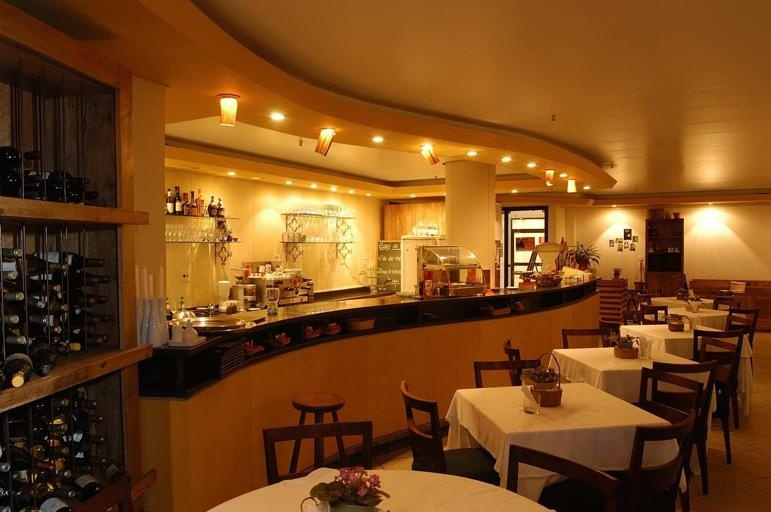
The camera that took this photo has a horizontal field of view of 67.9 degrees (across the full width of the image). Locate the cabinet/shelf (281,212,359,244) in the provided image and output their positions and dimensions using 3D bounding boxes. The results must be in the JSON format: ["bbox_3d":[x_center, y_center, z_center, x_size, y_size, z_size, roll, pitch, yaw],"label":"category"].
[{"bbox_3d":[-1.356,-0.536,11.783,0.541,0.641,2.202,2,1,24],"label":"cabinet/shelf"}]

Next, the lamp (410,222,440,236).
[{"bbox_3d":[0.894,-0.575,12.943,0.647,0.335,1.302,2,1,5],"label":"lamp"}]

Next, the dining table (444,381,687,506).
[{"bbox_3d":[1.343,1.356,4.769,1.078,0.444,1.094,0,6,-18],"label":"dining table"}]

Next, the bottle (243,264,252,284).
[{"bbox_3d":[-2.421,0.313,9.884,0.144,0.320,0.440,1,1,-13],"label":"bottle"}]

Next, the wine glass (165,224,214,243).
[{"bbox_3d":[-3.068,-0.330,8.906,0.146,0.279,0.938,2,1,26],"label":"wine glass"}]

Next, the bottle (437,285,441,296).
[{"bbox_3d":[0.688,0.459,7.446,0.041,0.107,0.019,2,1,18],"label":"bottle"}]

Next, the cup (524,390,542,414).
[{"bbox_3d":[1.198,1.205,4.659,0.147,0.268,0.147,-4,18,1],"label":"cup"}]

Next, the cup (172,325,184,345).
[{"bbox_3d":[-1.721,0.658,4.695,0.079,0.147,0.110,1,2,-30],"label":"cup"}]

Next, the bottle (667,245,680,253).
[{"bbox_3d":[8.093,-0.159,15.952,0.282,0.165,0.197,-2,1,5],"label":"bottle"}]

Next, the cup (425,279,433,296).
[{"bbox_3d":[0.562,0.420,7.455,0.103,0.184,0.083,2,1,4],"label":"cup"}]

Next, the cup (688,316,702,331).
[{"bbox_3d":[4.023,0.887,7.423,0.186,0.117,0.317,-1,-6,25],"label":"cup"}]

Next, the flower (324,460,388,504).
[{"bbox_3d":[-0.154,1.300,3.193,0.240,0.098,0.242,1,-1,-27],"label":"flower"}]

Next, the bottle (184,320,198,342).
[{"bbox_3d":[-1.639,0.639,4.794,0.144,0.214,0.145,-4,-1,0],"label":"bottle"}]

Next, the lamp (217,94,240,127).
[{"bbox_3d":[-1.537,-1.395,5.550,0.206,0.273,0.198,0,3,42],"label":"lamp"}]

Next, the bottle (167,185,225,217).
[{"bbox_3d":[-2.999,-0.800,8.961,0.311,0.399,1.064,0,2,27],"label":"bottle"}]

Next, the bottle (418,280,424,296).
[{"bbox_3d":[0.465,0.422,7.491,0.073,0.191,0.199,2,1,0],"label":"bottle"}]

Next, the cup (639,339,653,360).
[{"bbox_3d":[2.731,0.991,6.027,0.177,0.215,0.178,1,-2,0],"label":"cup"}]
